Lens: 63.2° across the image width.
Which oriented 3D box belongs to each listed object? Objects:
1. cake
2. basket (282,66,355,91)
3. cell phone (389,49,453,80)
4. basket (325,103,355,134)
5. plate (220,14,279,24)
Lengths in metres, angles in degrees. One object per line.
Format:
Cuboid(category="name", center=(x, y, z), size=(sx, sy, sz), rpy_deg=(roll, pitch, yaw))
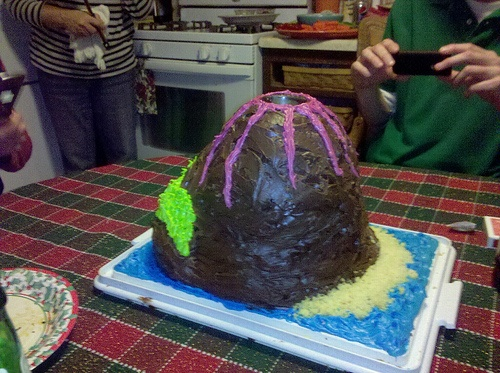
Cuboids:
Cuboid(category="cake", center=(0.068, 0.049, 1.097), size=(0.789, 0.437, 0.515), rpy_deg=(16, 26, 15))
Cuboid(category="basket", center=(0.411, -0.664, 2.487), size=(0.313, 0.086, 0.224), rpy_deg=(5, 17, 16))
Cuboid(category="cell phone", center=(0.565, -0.408, 1.368), size=(0.148, 0.106, 0.170), rpy_deg=(-8, 30, -14))
Cuboid(category="basket", center=(0.560, -0.428, 2.554), size=(0.175, 0.100, 0.165), rpy_deg=(5, 16, 7))
Cuboid(category="plate", center=(0.022, -1.066, 2.598), size=(0.157, 0.035, 0.234), rpy_deg=(7, 15, 30))
